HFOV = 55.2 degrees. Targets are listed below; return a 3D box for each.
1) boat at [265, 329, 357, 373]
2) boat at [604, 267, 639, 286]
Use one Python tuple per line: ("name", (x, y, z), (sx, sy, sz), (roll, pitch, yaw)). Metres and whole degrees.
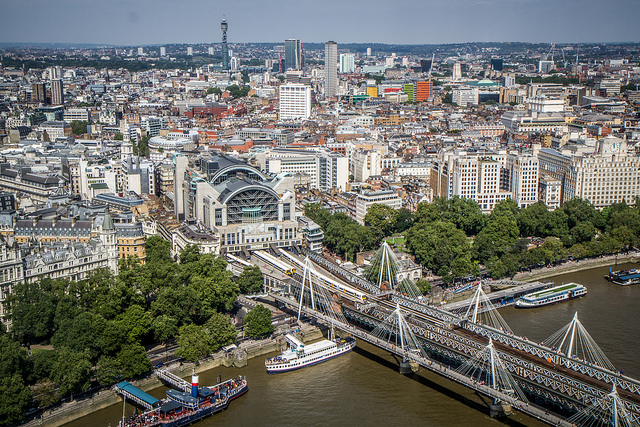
("boat", (-1.055, 14.120, 61.940), (7.262, 2.298, 1.618), (-16, 25, -29))
("boat", (39.166, 8.220, 78.299), (3.086, 1.060, 2.016), (-6, 16, -11))
